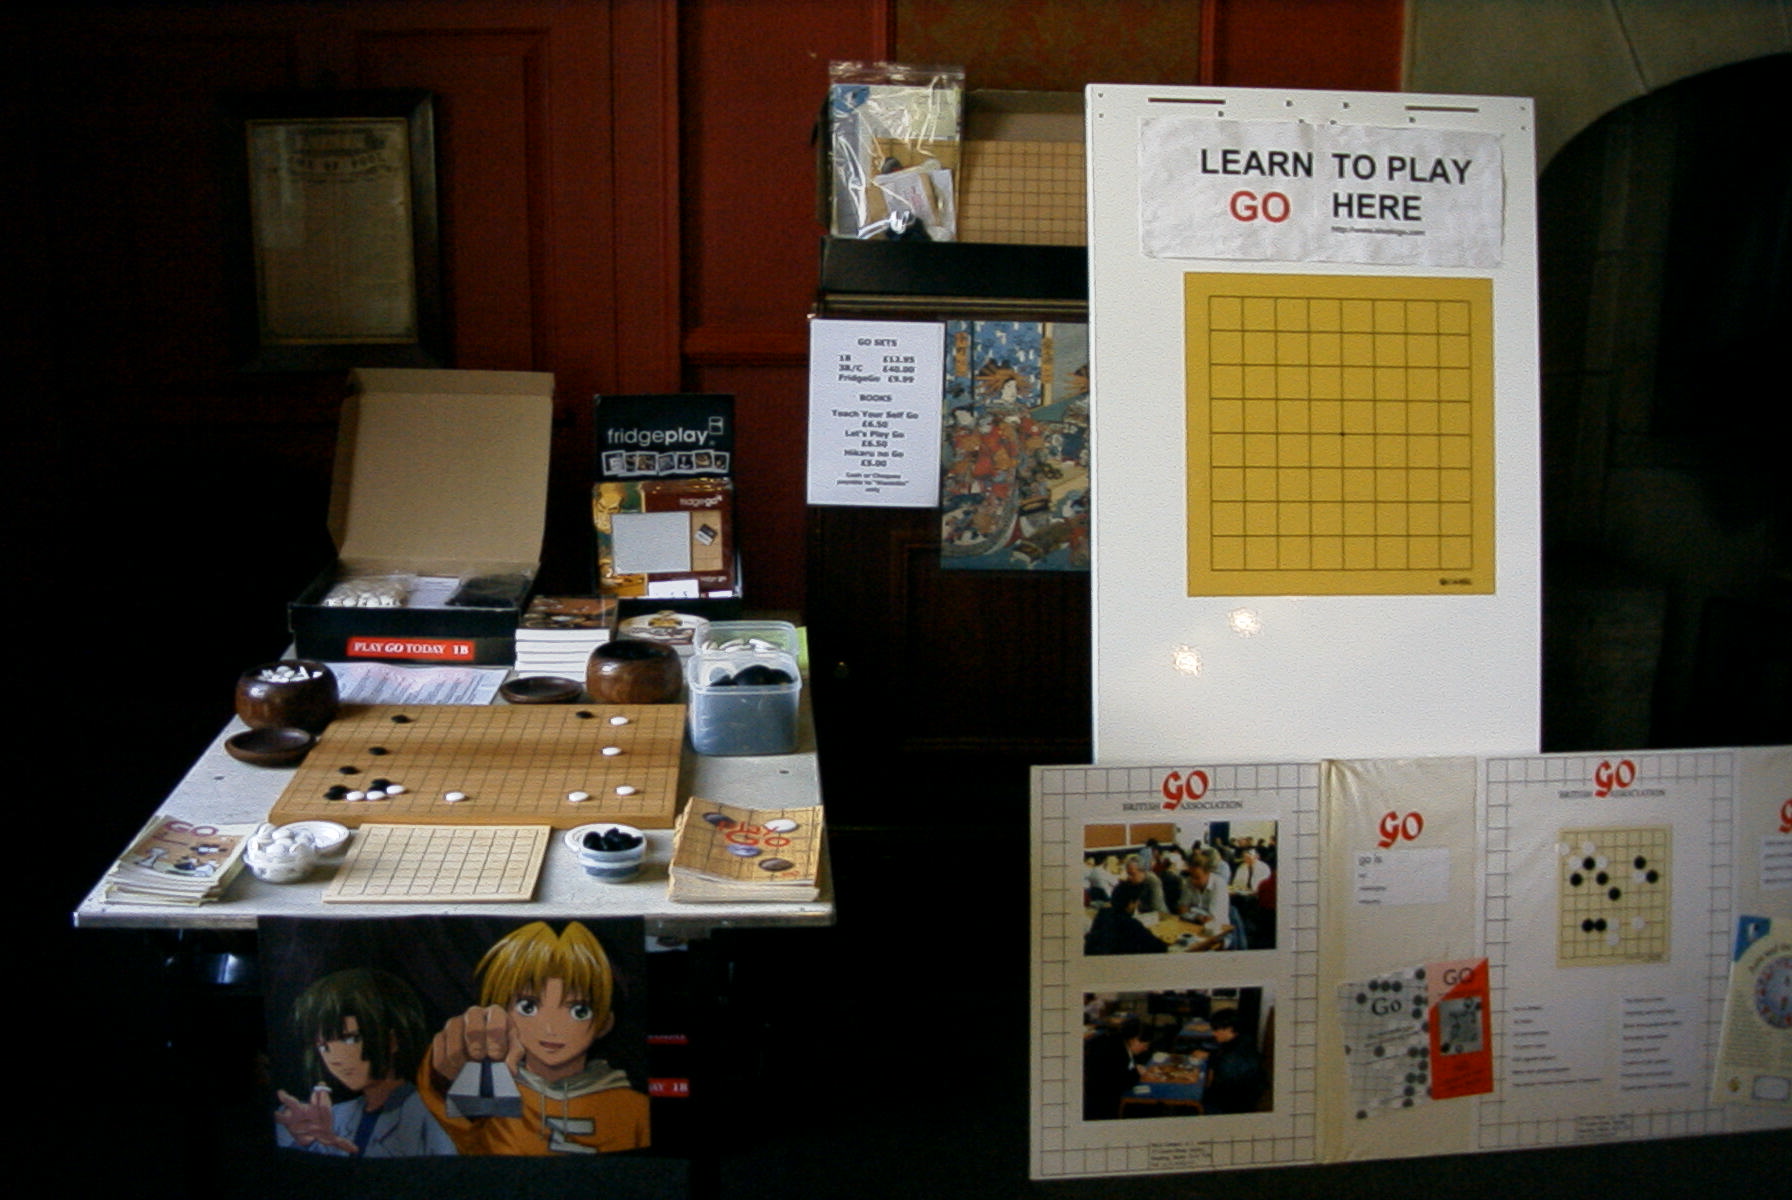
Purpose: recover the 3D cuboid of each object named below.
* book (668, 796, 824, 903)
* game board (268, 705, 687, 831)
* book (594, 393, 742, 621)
[{"bbox_3d":[-0.317,0.524,3.205,0.250,0.068,0.248,6,23,4],"label":"book"},{"bbox_3d":[-0.938,0.356,3.527,0.851,0.027,0.682,2,19,0],"label":"game board"},{"bbox_3d":[-0.648,-0.279,4.354,0.424,0.582,0.317,-2,22,-11],"label":"book"}]
